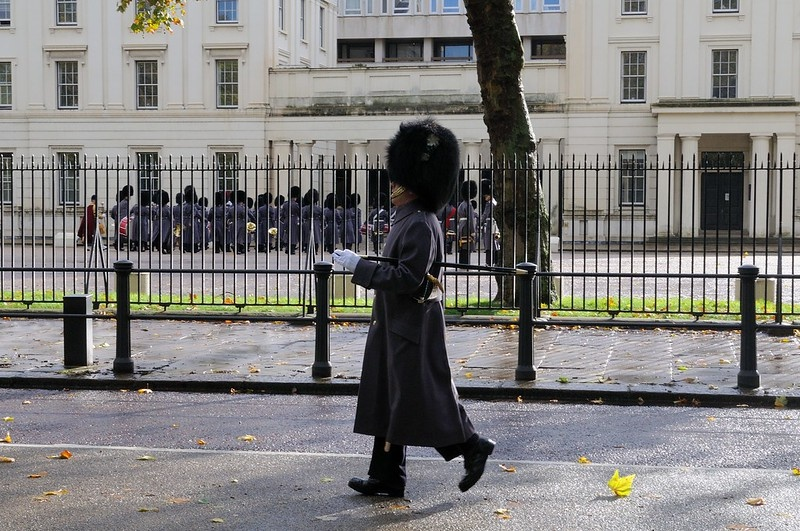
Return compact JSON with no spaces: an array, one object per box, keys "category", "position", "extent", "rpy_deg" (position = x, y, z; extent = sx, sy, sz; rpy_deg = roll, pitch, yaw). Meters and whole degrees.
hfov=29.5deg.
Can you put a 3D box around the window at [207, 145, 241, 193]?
[{"category":"window","position":[-5.079,-2.678,44.500],"extent":[0.735,1.118,0.062],"rpy_deg":[12,34,18]}]

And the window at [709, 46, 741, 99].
[{"category":"window","position":[11.694,-6.988,55.033],"extent":[0.918,1.759,0.197],"rpy_deg":[0,3,15]}]

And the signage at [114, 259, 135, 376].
[{"category":"signage","position":[-5.577,1.011,30.535],"extent":[0.414,2.275,0.459],"rpy_deg":[-2,3,-10]}]

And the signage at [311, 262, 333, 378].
[{"category":"signage","position":[-1.509,1.053,30.429],"extent":[0.561,2.280,0.517],"rpy_deg":[2,-5,-13]}]

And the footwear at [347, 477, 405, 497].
[{"category":"footwear","position":[-0.414,3.934,27.106],"extent":[1.099,0.404,0.344],"rpy_deg":[9,-1,1]}]

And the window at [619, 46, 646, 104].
[{"category":"window","position":[8.494,-6.936,55.616],"extent":[0.910,1.857,0.228],"rpy_deg":[-1,3,12]}]
